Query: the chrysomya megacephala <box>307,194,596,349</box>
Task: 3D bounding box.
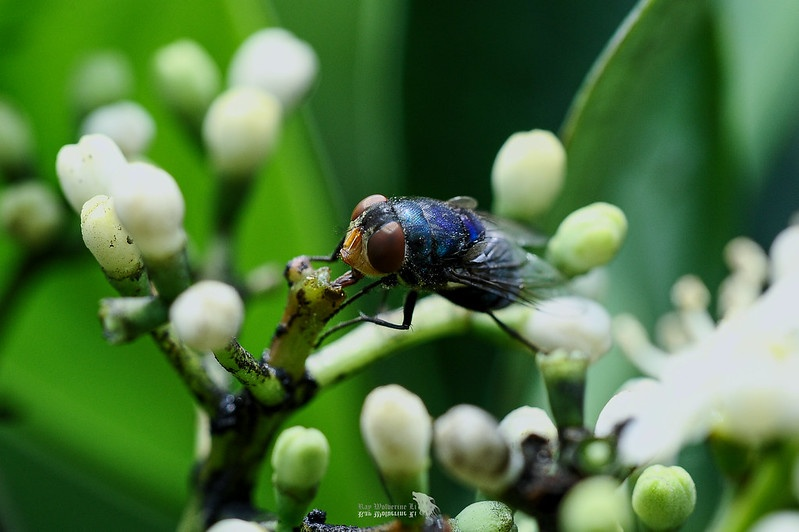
[{"bbox_3d":[0.059,-0.022,1.422,0.319,0.139,0.292,4,34,-36],"label":"chrysomya megacephala"}]
